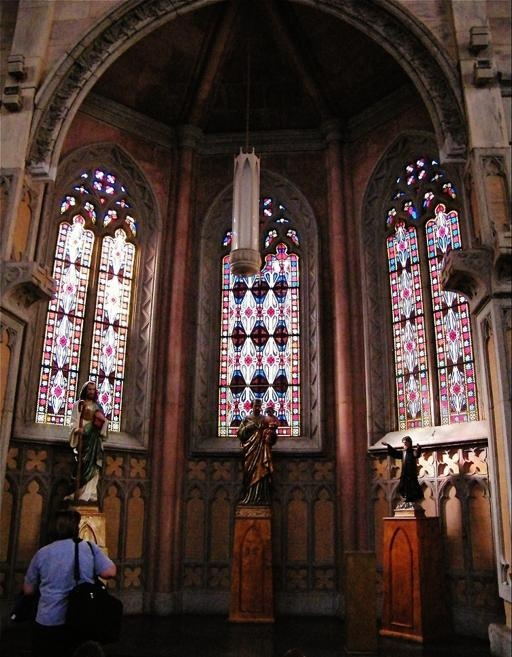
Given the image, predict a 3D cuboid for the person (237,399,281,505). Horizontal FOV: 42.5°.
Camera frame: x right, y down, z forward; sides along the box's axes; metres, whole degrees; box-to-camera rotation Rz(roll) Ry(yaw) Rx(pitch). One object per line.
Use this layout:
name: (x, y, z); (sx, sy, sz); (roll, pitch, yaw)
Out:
person: (0.009, 1.651, 8.793); (0.526, 1.377, 0.336); (1, -14, -1)

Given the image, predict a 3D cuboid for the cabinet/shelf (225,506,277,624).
cabinet/shelf: (-0.063, 2.923, 8.167); (0.503, 1.313, 0.275); (1, -14, -2)

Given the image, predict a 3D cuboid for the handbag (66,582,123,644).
handbag: (-0.902, 1.581, 3.630); (0.300, 0.343, 0.195); (7, -15, -25)

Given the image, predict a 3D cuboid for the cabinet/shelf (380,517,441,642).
cabinet/shelf: (1.648, 2.692, 7.138); (0.627, 1.226, 0.560); (-7, -16, 29)

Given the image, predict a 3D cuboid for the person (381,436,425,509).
person: (1.788, 1.720, 7.880); (0.416, 0.818, 0.864); (-2, -14, 12)

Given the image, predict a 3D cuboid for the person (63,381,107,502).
person: (-2.111, 1.416, 8.199); (0.423, 1.489, 0.950); (4, -14, -12)
